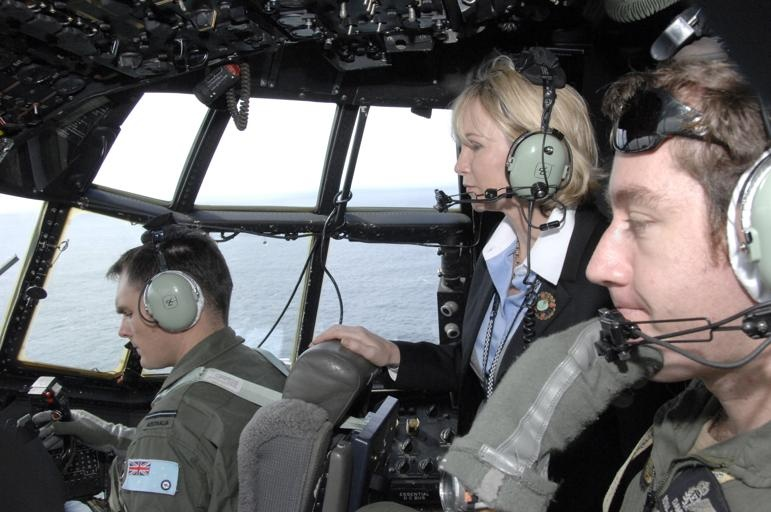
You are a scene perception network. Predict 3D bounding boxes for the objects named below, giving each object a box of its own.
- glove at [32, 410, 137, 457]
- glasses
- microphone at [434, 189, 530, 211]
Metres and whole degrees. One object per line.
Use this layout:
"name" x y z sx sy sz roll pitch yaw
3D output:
"glove" -1.717 0.961 3.543 0.334 0.165 0.460 -31 -63 26
"glasses" 0.697 -0.332 1.512 0.227 0.079 0.174 13 1 0
"microphone" 0.447 -0.268 2.704 0.350 0.093 0.190 -4 7 4
